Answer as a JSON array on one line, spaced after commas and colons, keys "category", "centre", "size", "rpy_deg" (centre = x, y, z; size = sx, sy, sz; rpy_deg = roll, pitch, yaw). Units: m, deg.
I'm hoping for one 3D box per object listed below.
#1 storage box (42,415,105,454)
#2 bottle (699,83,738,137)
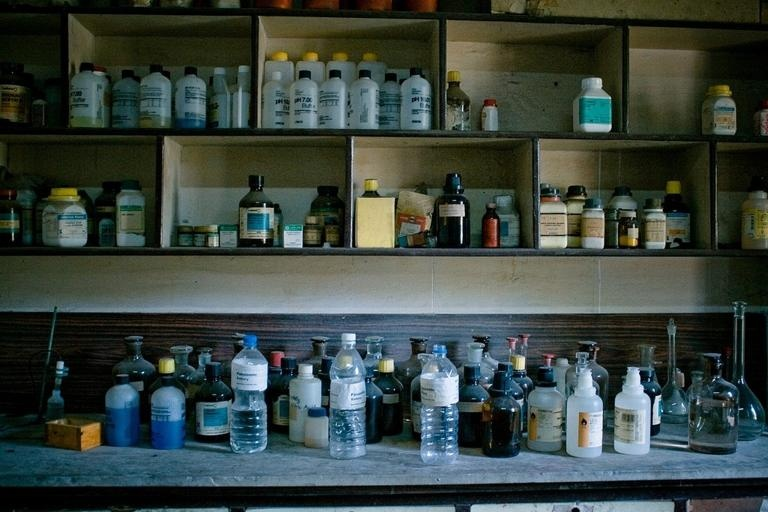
[{"category": "storage box", "centre": [-1.325, 0.772, 3.604], "size": [0.238, 0.072, 0.141], "rpy_deg": [4, 0, 23]}, {"category": "bottle", "centre": [1.582, -0.684, 3.927], "size": [0.149, 0.250, 0.150], "rpy_deg": [0, 0, 0]}]
